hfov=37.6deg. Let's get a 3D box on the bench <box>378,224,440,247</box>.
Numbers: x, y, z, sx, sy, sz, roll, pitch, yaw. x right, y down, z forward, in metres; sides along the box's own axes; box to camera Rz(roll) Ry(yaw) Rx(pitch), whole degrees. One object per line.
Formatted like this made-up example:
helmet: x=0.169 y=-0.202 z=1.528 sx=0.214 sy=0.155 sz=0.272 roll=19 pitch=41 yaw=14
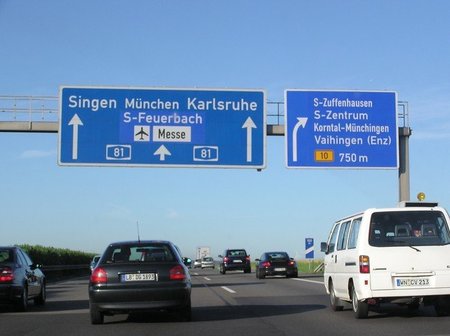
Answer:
bench: x=4.364 y=1.595 z=15.264 sx=1.402 sy=0.521 sz=0.259 roll=-7 pitch=-4 yaw=42
